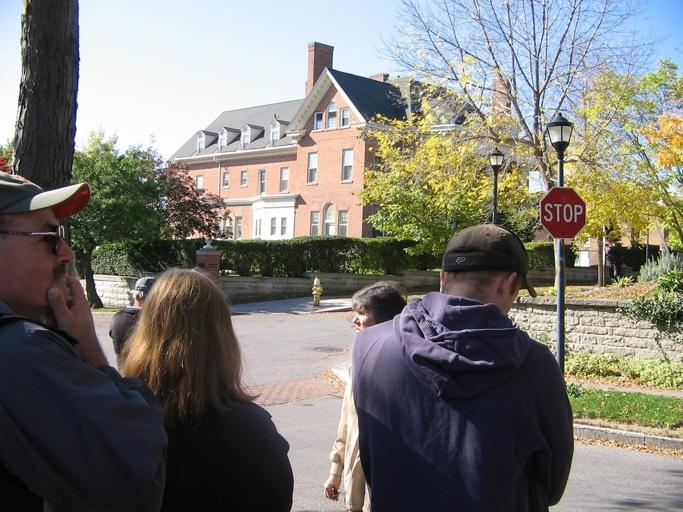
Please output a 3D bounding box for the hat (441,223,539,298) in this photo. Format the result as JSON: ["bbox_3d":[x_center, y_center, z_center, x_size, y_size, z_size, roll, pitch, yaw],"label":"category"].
[{"bbox_3d":[0.719,0.002,3.369,0.512,0.329,0.383,11,-6,-37],"label":"hat"}]
